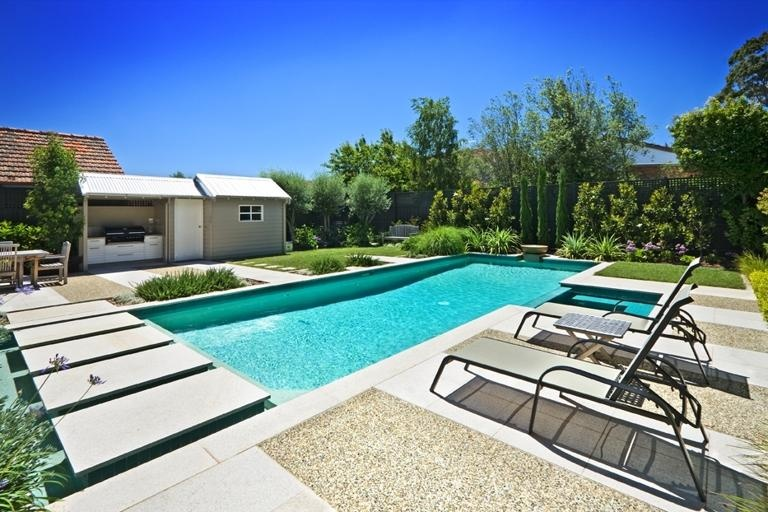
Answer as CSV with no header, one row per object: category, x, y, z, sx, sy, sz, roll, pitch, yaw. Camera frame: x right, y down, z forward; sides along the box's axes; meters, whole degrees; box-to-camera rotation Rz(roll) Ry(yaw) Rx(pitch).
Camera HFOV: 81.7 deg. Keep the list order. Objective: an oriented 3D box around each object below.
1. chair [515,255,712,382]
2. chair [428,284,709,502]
chair,3.674,0.990,7.356,2.492,1.623,0.955,14,27,39
chair,2.411,1.760,6.632,3.735,2.078,1.973,6,9,29
